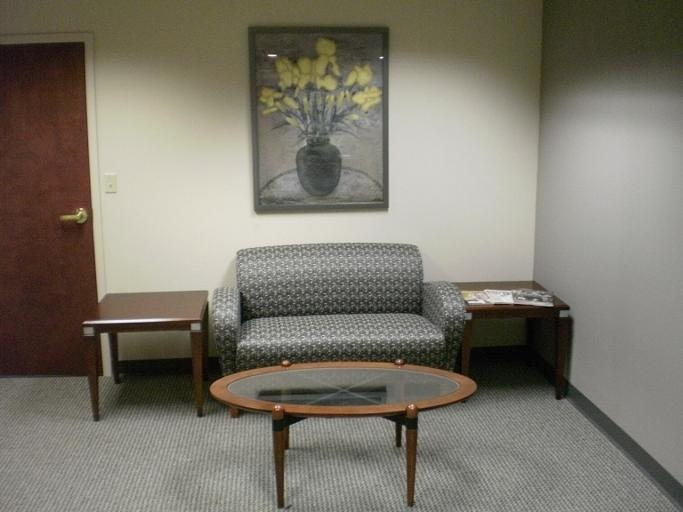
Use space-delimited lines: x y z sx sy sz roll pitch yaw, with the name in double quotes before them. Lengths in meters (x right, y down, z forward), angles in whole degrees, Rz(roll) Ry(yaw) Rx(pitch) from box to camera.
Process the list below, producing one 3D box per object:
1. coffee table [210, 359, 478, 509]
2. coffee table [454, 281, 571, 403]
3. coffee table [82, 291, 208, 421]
"coffee table" 0.014 0.874 2.738 1.278 0.535 0.646 2 13 10
"coffee table" 1.109 0.473 3.763 0.698 0.682 0.928 -2 7 -1
"coffee table" -1.243 0.628 3.677 0.755 0.638 0.851 -1 10 -6
